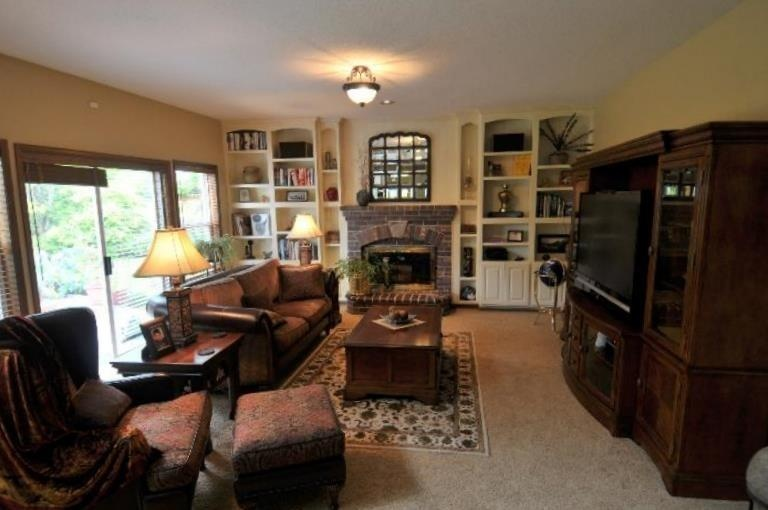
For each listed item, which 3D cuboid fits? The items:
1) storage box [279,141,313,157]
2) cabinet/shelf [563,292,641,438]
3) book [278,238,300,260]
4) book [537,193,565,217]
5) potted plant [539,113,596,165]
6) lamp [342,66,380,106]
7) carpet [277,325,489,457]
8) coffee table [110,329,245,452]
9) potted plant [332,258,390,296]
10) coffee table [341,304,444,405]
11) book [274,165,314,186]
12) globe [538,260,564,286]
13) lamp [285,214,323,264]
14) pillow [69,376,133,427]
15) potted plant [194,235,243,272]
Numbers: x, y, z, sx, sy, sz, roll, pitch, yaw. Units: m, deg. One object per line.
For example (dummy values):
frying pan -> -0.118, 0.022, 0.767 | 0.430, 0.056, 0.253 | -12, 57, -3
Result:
storage box -> -1.327, -1.553, 7.915 | 0.414, 0.174, 0.269 | 1, 6, 5
cabinet/shelf -> 1.998, 1.018, 4.869 | 0.432, 0.717, 1.241 | 1, 8, 5
book -> -1.430, -0.085, 8.227 | 0.325, 0.379, 0.423 | 1, 2, 9
book -> 2.321, -0.698, 7.514 | 0.394, 0.336, 0.198 | 0, -2, 7
potted plant -> 2.496, -1.592, 7.391 | 0.692, 0.658, 0.397 | 0, 7, 15
lamp -> -0.232, -1.701, 5.492 | 0.413, 0.329, 0.388 | 0, 0, 8
carpet -> 0.089, 1.298, 5.490 | 1.933, 0.022, 1.977 | -2, 25, -5
coffee table -> -1.825, 1.166, 5.013 | 0.904, 0.871, 0.955 | 2, 9, 4
potted plant -> -0.299, 0.298, 7.955 | 0.829, 0.536, 0.446 | -3, 7, -14
coffee table -> 0.101, 0.824, 5.381 | 0.867, 0.446, 1.288 | 0, 7, 6
book -> -1.337, -1.151, 7.944 | 0.601, 0.281, 0.071 | -1, 7, 7
globe -> 2.111, 0.230, 6.834 | 0.316, 0.364, 0.486 | -1, 6, 7
lamp -> -1.101, -0.234, 7.423 | 0.406, 0.666, 0.893 | -3, 6, -9
pillow -> -2.197, 1.143, 4.156 | 0.446, 0.181, 0.430 | -11, 43, -39
potted plant -> -2.458, -0.058, 7.660 | 0.773, 0.614, 0.548 | 6, 11, 37
